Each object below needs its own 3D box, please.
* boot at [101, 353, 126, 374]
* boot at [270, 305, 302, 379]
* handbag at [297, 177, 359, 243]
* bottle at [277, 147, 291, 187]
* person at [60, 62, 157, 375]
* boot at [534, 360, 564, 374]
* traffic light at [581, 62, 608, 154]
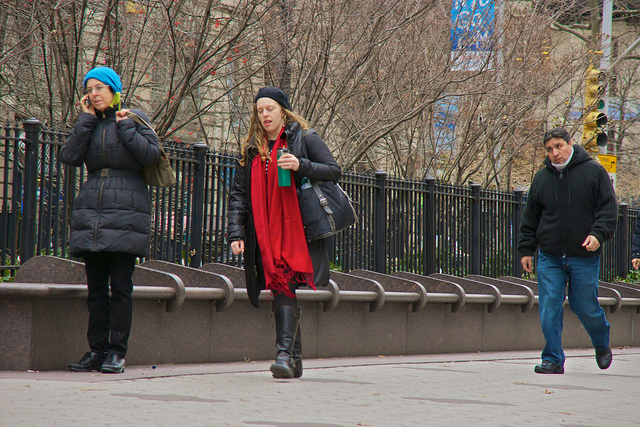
[{"bbox_3d":[-2.278,1.640,10.855,0.225,0.218,0.201,0,-4,-7],"label":"boot"},{"bbox_3d":[-0.379,1.397,10.830,0.316,0.777,0.185,-1,-4,-3],"label":"boot"},{"bbox_3d":[0.069,-0.146,11.028,0.654,0.776,0.466,-17,0,-39],"label":"handbag"},{"bbox_3d":[-0.394,-0.498,10.813,0.140,0.439,0.261,-1,-4,-2],"label":"bottle"},{"bbox_3d":[-2.312,0.089,10.912,0.968,3.321,0.413,0,-4,-14],"label":"person"},{"bbox_3d":[2.800,1.884,12.145,0.354,0.143,0.143,6,-6,-16],"label":"boot"},{"bbox_3d":[4.743,-1.809,17.217,0.397,1.575,1.103,-2,-4,14],"label":"traffic light"}]
